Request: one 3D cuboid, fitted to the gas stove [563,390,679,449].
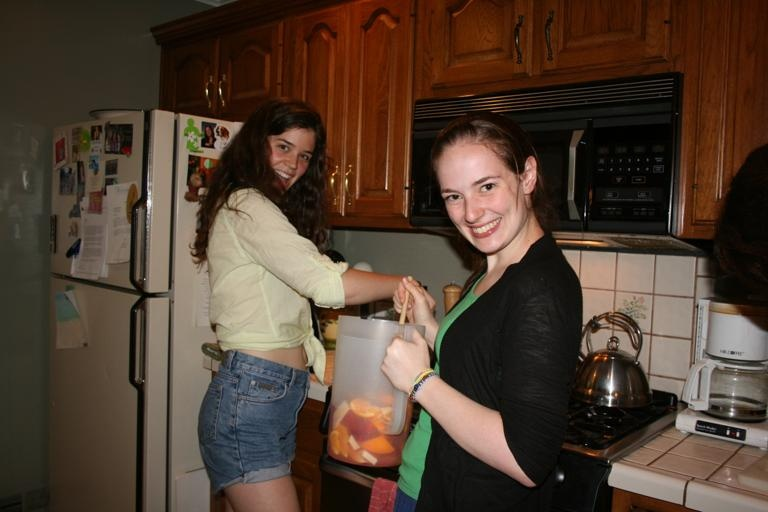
[{"bbox_3d":[0.844,0.606,2.024,0.304,0.077,0.285,-4,3,-39],"label":"gas stove"}]

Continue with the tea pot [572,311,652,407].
[{"bbox_3d":[0.920,0.419,2.284,0.293,0.373,0.358,5,-6,-44],"label":"tea pot"}]

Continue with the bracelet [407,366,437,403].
[{"bbox_3d":[0.097,0.337,1.456,0.028,0.078,0.070,21,28,15],"label":"bracelet"}]

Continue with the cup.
[{"bbox_3d":[-0.083,0.383,1.632,0.264,0.443,0.421,4,4,-19],"label":"cup"}]
